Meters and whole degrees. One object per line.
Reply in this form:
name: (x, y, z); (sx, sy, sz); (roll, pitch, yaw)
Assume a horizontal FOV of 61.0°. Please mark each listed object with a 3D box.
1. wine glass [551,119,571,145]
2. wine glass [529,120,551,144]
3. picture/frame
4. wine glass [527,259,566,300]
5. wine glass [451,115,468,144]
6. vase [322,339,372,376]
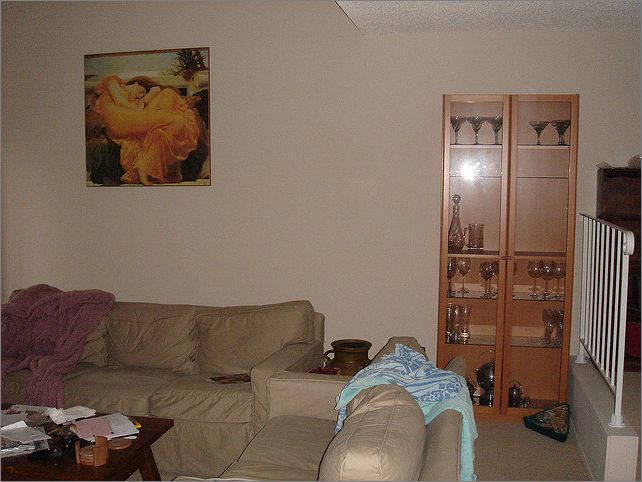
wine glass: (1.848, -0.853, 4.251); (0.167, 0.198, 0.163); (-5, 9, -18)
wine glass: (1.709, -0.851, 4.274); (0.137, 0.155, 0.137); (1, 0, 1)
picture/frame: (-1.437, -1.106, 4.677); (1.226, 1.182, 0.048); (1, 3, 13)
wine glass: (1.784, 0.284, 4.348); (0.282, 0.326, 0.317); (1, 1, 28)
wine glass: (1.067, -0.877, 4.282); (0.179, 0.212, 0.178); (0, 1, -2)
vase: (0.220, 0.821, 3.926); (0.255, 0.153, 0.225); (4, 7, 36)
